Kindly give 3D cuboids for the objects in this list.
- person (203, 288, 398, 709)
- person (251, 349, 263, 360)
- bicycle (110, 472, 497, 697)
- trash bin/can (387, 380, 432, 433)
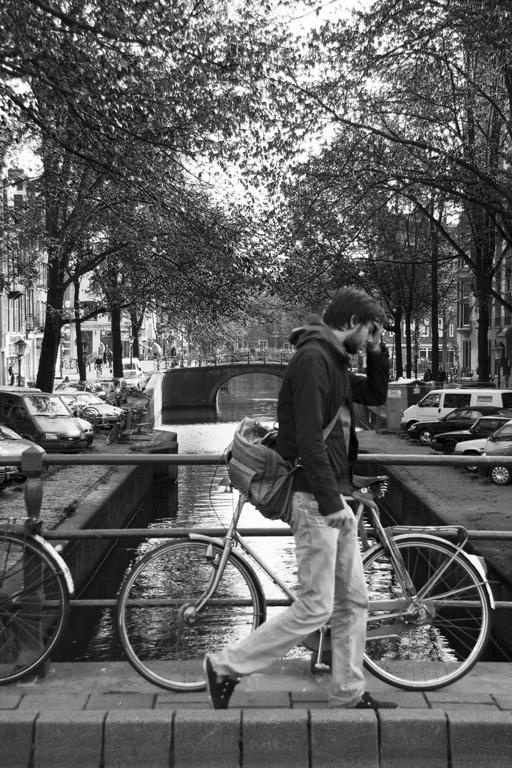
[{"bbox_3d":[0.249,0.408,3.166,0.815,1.521,0.452,1,0,-38],"label":"person"},{"bbox_3d":[0.023,-2.600,78.401,0.961,0.403,1.092,0,29,-1],"label":"person"},{"bbox_3d":[0.169,0.815,3.832,1.531,1.112,0.767,1,-3,-9],"label":"bicycle"},{"bbox_3d":[6.424,1.071,35.520,1.527,2.419,1.594,7,6,30],"label":"trash bin/can"}]
